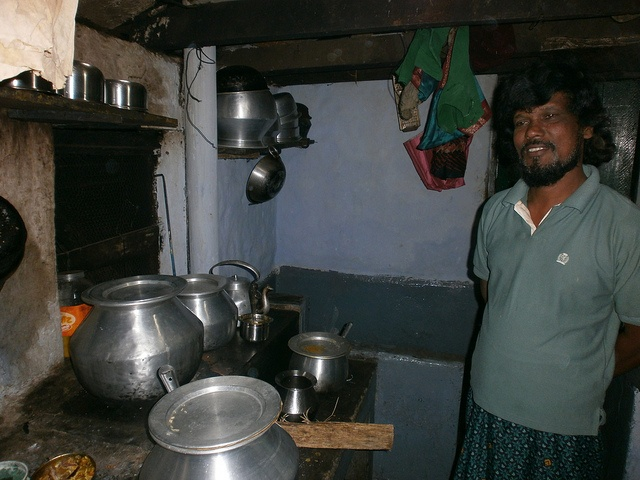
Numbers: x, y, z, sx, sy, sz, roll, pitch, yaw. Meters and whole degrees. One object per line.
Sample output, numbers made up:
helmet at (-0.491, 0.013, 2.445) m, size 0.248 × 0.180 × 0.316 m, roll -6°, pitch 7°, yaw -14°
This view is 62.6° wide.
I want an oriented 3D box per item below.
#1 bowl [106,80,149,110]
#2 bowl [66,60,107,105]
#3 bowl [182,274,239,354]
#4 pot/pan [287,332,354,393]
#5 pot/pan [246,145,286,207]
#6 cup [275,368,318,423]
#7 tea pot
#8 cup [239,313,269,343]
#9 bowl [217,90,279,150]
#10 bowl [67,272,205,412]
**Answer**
bowl at (-0.762, -0.583, 2.126) m, size 0.102 × 0.129 × 0.194 m, roll 4°, pitch 8°, yaw 42°
bowl at (-0.869, -0.577, 1.988) m, size 0.150 × 0.153 × 0.148 m, roll 6°, pitch 7°, yaw -1°
bowl at (-0.535, 0.342, 2.540) m, size 0.318 × 0.268 × 0.315 m, roll 4°, pitch 9°, yaw -1°
pot/pan at (0.004, 0.563, 2.535) m, size 0.264 × 0.170 × 0.263 m, roll -3°, pitch 12°, yaw -15°
pot/pan at (-0.406, -0.441, 3.818) m, size 0.289 × 0.351 × 0.299 m, roll -2°, pitch 6°, yaw -3°
cup at (-0.112, 0.693, 2.345) m, size 0.179 × 0.176 × 0.174 m, roll -1°, pitch 6°, yaw 0°
tea pot at (-0.409, 0.259, 2.931) m, size 0.361 × 0.320 × 0.241 m, roll -1°, pitch 8°, yaw -2°
cup at (-0.330, 0.440, 2.648) m, size 0.128 × 0.082 × 0.127 m, roll 1°, pitch 8°, yaw 0°
bowl at (-0.414, -0.648, 2.858) m, size 0.332 × 0.271 × 0.280 m, roll -6°, pitch 14°, yaw -26°
bowl at (-0.719, 0.378, 2.198) m, size 0.474 × 0.404 × 0.478 m, roll -1°, pitch 9°, yaw 0°
